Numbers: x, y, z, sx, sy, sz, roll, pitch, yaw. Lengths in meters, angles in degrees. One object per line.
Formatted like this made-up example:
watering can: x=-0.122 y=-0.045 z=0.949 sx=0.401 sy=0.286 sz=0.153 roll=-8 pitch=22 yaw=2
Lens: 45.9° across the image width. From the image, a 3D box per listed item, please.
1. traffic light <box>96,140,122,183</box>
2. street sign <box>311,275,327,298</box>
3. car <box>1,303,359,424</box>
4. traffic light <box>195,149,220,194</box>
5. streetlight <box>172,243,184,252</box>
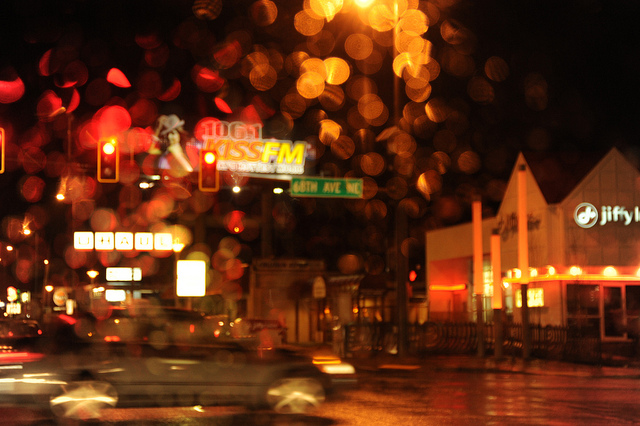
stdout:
traffic light: x=-6.587 y=-1.675 z=23.568 sx=0.643 sy=1.474 sz=0.770 roll=5 pitch=-12 yaw=-19
street sign: x=0.014 y=3.450 z=35.243 sx=0.370 sy=1.110 sz=1.873 roll=3 pitch=-13 yaw=-10
car: x=-3.196 y=3.702 z=17.756 sx=7.570 sy=2.580 sz=3.020 roll=0 pitch=-5 yaw=-7
traffic light: x=-3.615 y=-1.386 z=24.470 sx=0.629 sy=1.404 sz=0.766 roll=3 pitch=-11 yaw=-8
streetlight: x=-7.435 y=1.806 z=39.627 sx=0.648 sy=0.500 sz=0.658 roll=0 pitch=-1 yaw=-21
